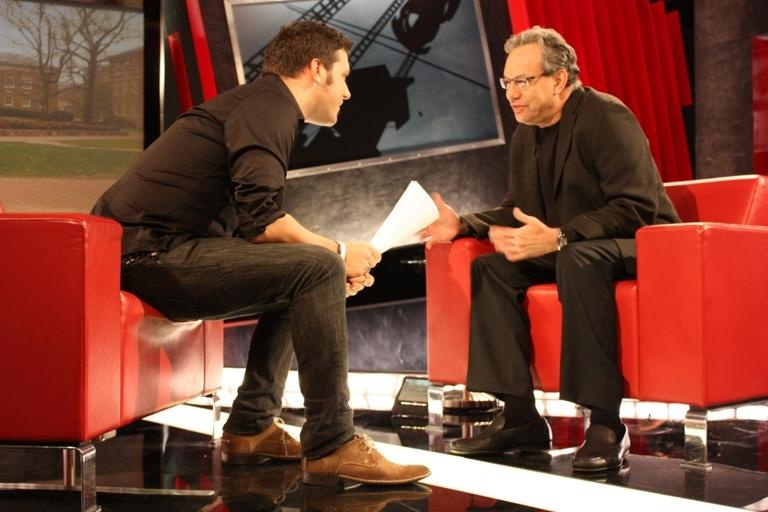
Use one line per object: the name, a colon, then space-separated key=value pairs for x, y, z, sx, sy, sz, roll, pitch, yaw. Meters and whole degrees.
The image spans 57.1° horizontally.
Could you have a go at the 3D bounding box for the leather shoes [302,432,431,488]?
leather shoes: x=-0.086 y=0.691 z=2.398 sx=0.500 sy=0.188 sz=0.156 roll=0 pitch=-7 yaw=-3

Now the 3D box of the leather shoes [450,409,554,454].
leather shoes: x=0.455 y=0.679 z=2.700 sx=0.414 sy=0.150 sz=0.140 roll=0 pitch=-7 yaw=-2

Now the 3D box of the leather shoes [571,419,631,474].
leather shoes: x=0.783 y=0.672 z=2.519 sx=0.164 sy=0.122 sz=0.383 roll=-1 pitch=2 yaw=34

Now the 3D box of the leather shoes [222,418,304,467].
leather shoes: x=-0.444 y=0.686 z=2.600 sx=0.319 sy=0.129 sz=0.143 roll=1 pitch=-4 yaw=-17

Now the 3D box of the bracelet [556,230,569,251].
bracelet: x=0.661 y=-0.060 z=2.608 sx=0.052 sy=0.063 sz=0.025 roll=-5 pitch=10 yaw=-3
